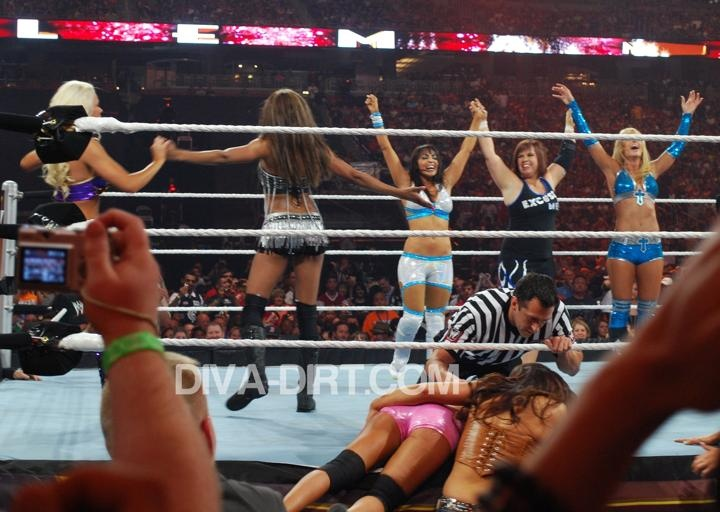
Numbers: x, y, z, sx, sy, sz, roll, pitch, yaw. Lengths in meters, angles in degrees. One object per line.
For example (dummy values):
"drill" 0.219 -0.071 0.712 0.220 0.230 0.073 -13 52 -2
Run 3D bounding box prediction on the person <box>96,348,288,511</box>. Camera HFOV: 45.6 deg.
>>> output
"person" -0.866 0.937 4.494 1.318 0.735 0.547 -4 3 -2

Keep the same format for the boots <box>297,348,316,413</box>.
"boots" -0.383 0.869 6.108 0.216 0.455 0.171 0 -12 2

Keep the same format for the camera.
"camera" -1.359 0.027 4.023 0.469 0.313 0.270 3 2 34
